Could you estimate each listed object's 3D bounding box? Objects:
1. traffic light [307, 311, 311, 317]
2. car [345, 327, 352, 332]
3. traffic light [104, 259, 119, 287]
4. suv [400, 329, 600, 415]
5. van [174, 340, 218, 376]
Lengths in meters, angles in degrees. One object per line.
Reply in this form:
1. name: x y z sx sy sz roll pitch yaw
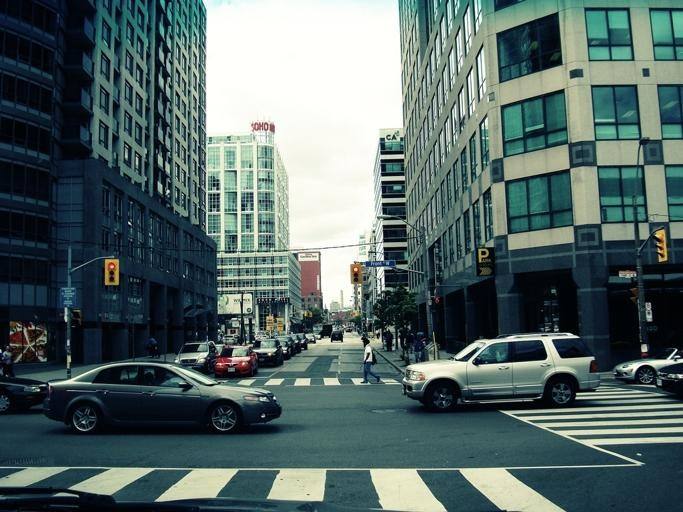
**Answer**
1. traffic light: -5.899 10.627 145.158 0.882 0.519 0.934 3 -34 2
2. car: 2.376 23.544 252.323 2.214 1.324 2.228 2 -4 0
3. traffic light: -12.818 0.808 44.347 0.673 1.427 1.244 2 -10 -24
4. suv: 5.763 4.358 29.352 6.176 2.816 3.007 1 -10 0
5. van: -8.041 5.581 44.368 1.978 1.825 4.584 -1 -13 0
